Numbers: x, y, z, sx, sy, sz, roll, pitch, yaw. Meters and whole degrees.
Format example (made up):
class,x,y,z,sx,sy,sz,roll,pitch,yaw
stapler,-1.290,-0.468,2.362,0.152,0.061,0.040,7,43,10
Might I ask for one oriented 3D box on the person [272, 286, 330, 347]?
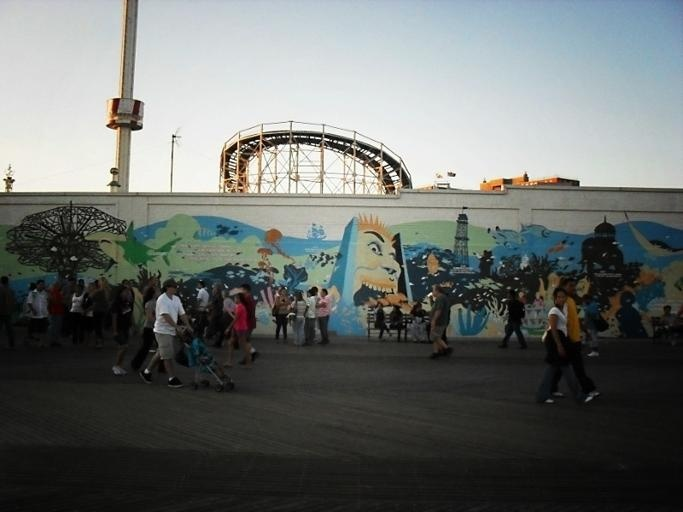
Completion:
class,x,y,z,sx,sy,sz,roll,pitch,yaw
person,-1.420,2.097,22.214,0.794,1.946,1.482,0,0,21

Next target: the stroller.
class,x,y,z,sx,sy,sz,roll,pitch,yaw
stroller,-2.758,2.152,12.904,1.272,1.012,0.611,8,-7,12

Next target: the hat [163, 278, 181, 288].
class,x,y,z,sx,sy,sz,roll,pitch,yaw
hat,-3.520,0.589,13.053,0.278,0.270,0.218,-19,14,-8

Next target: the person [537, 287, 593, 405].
class,x,y,z,sx,sy,sz,roll,pitch,yaw
person,4.194,1.669,11.983,1.097,2.129,0.862,0,0,4
